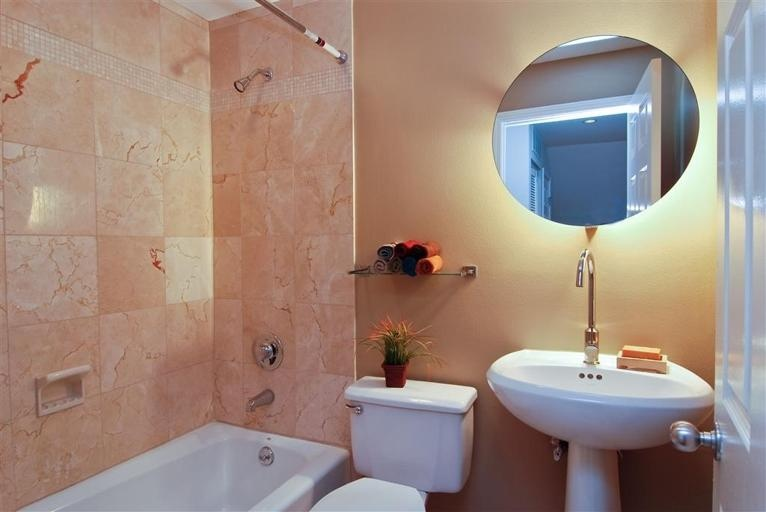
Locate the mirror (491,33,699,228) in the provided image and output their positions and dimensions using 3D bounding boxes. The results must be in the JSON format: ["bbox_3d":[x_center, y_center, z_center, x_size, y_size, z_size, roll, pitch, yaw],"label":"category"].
[{"bbox_3d":[0.990,-0.574,2.592,0.914,0.884,0.041,0,4,18],"label":"mirror"}]

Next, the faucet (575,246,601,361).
[{"bbox_3d":[0.900,0.220,2.539,0.086,0.495,0.269,0,4,21],"label":"faucet"}]

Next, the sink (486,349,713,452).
[{"bbox_3d":[0.886,0.611,2.408,0.868,0.328,0.434,-1,4,21],"label":"sink"}]

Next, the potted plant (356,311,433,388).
[{"bbox_3d":[0.054,0.467,2.836,0.360,0.305,0.235,-1,4,5],"label":"potted plant"}]
